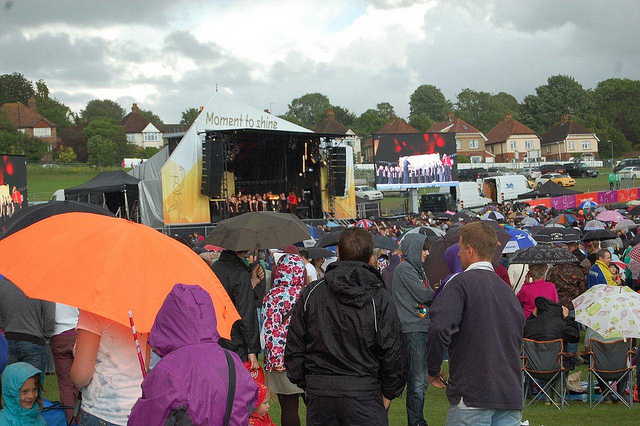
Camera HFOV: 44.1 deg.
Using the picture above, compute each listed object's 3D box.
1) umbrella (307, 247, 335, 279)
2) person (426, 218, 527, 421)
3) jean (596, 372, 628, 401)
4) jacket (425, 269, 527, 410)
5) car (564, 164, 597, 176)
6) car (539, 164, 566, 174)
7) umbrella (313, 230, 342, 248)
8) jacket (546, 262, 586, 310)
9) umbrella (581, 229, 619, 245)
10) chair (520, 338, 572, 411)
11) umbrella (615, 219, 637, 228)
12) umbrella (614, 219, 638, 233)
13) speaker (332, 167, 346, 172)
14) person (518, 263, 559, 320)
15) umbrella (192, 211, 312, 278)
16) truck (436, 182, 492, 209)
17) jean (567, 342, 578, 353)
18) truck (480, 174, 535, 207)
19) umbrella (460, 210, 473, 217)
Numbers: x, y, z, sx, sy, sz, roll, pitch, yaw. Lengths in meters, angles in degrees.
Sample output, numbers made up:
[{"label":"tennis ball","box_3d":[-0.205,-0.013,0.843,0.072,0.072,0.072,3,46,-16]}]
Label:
[{"label":"umbrella","box_3d":[-0.013,0.784,12.460,0.404,0.479,0.401,0,-6,-6]},{"label":"person","box_3d":[1.654,1.151,8.450,1.049,2.150,0.413,-3,-4,12]},{"label":"jean","box_3d":[4.376,2.525,11.611,0.322,0.417,0.362,11,-5,-19]},{"label":"jacket","box_3d":[1.780,1.351,8.628,1.147,1.536,0.722,8,-6,-27]},{"label":"car","box_3d":[19.417,-3.184,58.821,1.909,0.806,1.080,-2,1,39]},{"label":"car","box_3d":[17.564,-3.340,59.441,0.854,0.825,1.611,-5,10,-30]},{"label":"umbrella","box_3d":[0.139,0.511,15.868,0.446,0.371,1.485,-3,-6,0]},{"label":"jacket","box_3d":[3.851,1.155,12.354,0.644,0.825,0.434,0,7,26]},{"label":"umbrella","box_3d":[5.998,0.456,16.840,0.812,0.260,0.540,1,-6,-33]},{"label":"chair","box_3d":[3.286,2.297,11.441,0.696,1.028,0.672,-3,-5,11]},{"label":"umbrella","box_3d":[7.317,0.268,18.928,0.287,0.115,0.291,-8,1,44]},{"label":"umbrella","box_3d":[7.330,0.360,18.862,0.343,0.151,0.340,-13,3,-44]},{"label":"speaker","box_3d":[0.764,-1.827,32.857,0.574,0.233,0.092,-5,-5,23]},{"label":"person","box_3d":[3.264,1.172,11.679,0.399,1.126,0.373,10,-37,9]},{"label":"umbrella","box_3d":[-0.808,0.314,10.539,0.966,0.708,1.002,-3,-4,7]},{"label":"truck","box_3d":[7.903,-0.738,42.063,2.913,1.627,1.299,-6,1,-44]},{"label":"jean","box_3d":[4.172,2.180,13.001,0.168,0.148,0.181,-1,-3,-11]},{"label":"truck","box_3d":[10.632,-1.015,45.081,3.613,2.119,2.090,-11,11,-34]},{"label":"umbrella","box_3d":[4.975,-0.029,26.651,0.470,0.259,0.838,0,-6,13]}]
